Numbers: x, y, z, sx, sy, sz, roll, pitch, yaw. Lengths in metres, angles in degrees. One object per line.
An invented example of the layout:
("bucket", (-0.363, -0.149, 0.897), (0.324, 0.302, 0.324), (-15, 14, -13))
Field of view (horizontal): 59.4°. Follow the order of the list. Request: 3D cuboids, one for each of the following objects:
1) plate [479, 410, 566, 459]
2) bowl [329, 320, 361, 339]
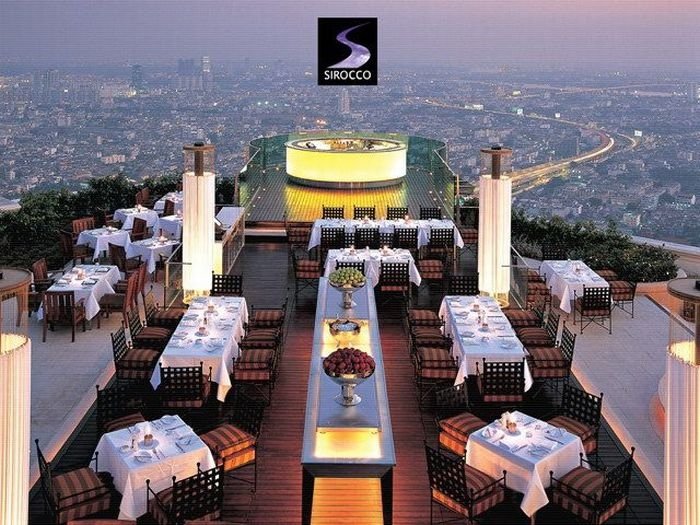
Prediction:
("plate", (2.121, 2.049, 7.475), (0.880, 0.238, 0.817), (-15, 19, -33))
("bowl", (-0.074, 0.914, 8.812), (0.436, 0.166, 0.667), (-5, 16, -3))
